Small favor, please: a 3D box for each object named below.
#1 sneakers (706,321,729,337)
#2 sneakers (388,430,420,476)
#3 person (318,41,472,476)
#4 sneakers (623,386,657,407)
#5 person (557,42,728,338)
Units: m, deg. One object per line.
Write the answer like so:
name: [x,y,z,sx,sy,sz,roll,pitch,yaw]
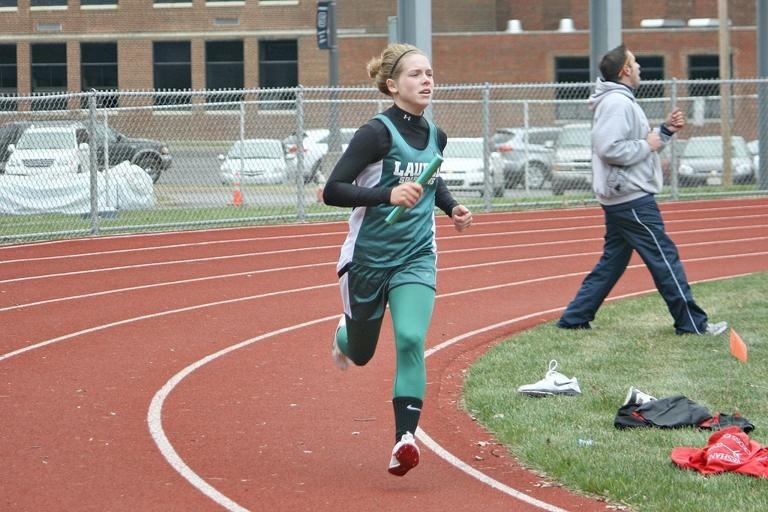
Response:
sneakers: [3.416,0.733,9.475,0.298,0.113,0.111,-19,28,-29]
sneakers: [0.136,1.460,6.797,0.154,0.391,0.181,24,45,-7]
person: [0.081,0.038,7.088,1.025,3.231,1.352,-2,13,4]
sneakers: [2.162,1.162,7.791,0.254,0.155,0.409,2,14,17]
person: [2.604,-0.673,9.642,1.487,2.976,0.685,3,15,23]
